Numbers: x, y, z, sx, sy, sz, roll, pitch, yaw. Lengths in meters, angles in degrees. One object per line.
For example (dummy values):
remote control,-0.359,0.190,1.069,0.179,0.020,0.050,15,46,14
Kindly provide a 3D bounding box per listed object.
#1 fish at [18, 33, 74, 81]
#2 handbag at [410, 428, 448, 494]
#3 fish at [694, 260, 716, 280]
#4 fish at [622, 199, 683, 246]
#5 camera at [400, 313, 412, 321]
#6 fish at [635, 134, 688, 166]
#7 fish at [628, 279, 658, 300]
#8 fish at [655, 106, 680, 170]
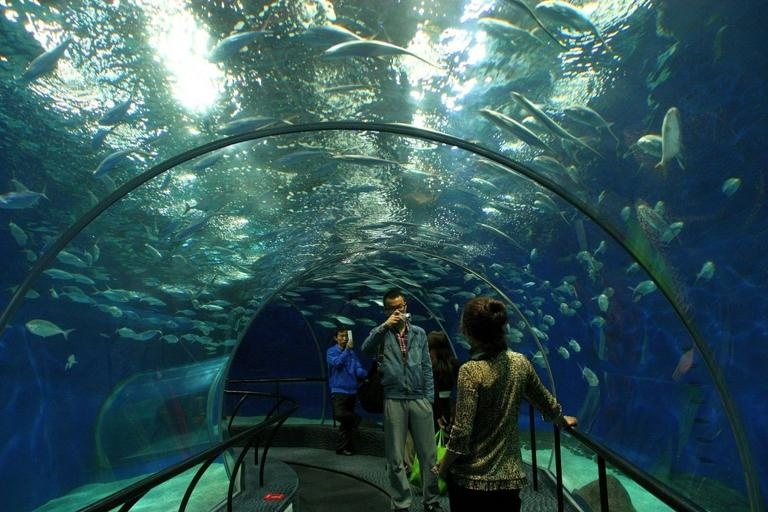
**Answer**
fish,-4.711,-2.796,7.557,0.844,0.327,0.177,-29,-41,22
handbag,0.860,3.211,8.549,0.541,1.037,0.563,5,-9,2
fish,5.084,0.228,8.564,0.058,0.309,0.110,13,12,-47
fish,4.383,-0.554,8.865,0.974,0.459,0.464,40,12,-11
camera,0.330,0.931,8.289,0.144,0.077,0.197,2,-1,4
fish,4.279,-1.652,8.387,0.832,0.349,0.148,19,-10,-5
fish,4.750,0.611,9.962,0.253,0.241,0.672,-3,-21,0
fish,4.274,-1.816,8.160,0.280,0.739,0.322,-14,6,-39
